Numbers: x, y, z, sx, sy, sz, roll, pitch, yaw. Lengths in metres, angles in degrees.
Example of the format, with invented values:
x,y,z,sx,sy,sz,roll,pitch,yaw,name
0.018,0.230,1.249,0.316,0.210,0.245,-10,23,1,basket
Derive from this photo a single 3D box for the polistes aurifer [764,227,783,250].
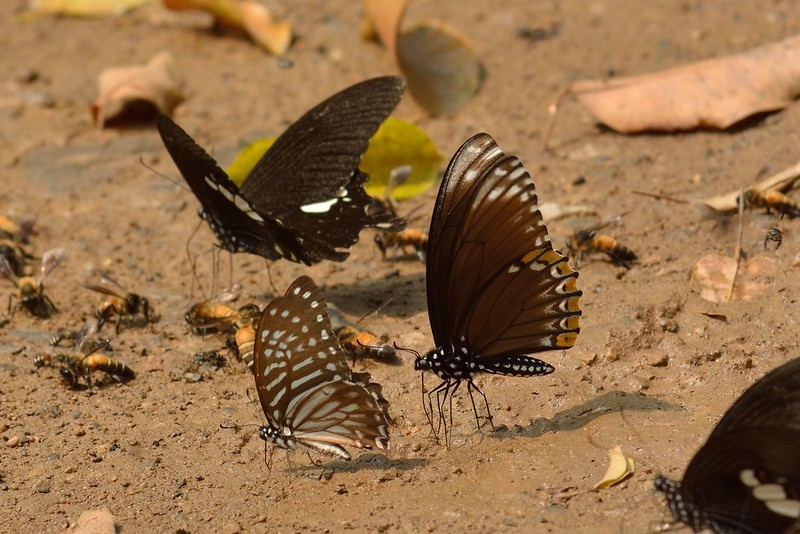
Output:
x,y,z,sx,sy,sz,roll,pitch,yaw,name
3.521,-0.270,9.140,0.215,0.105,0.180,-2,81,17,polistes aurifer
